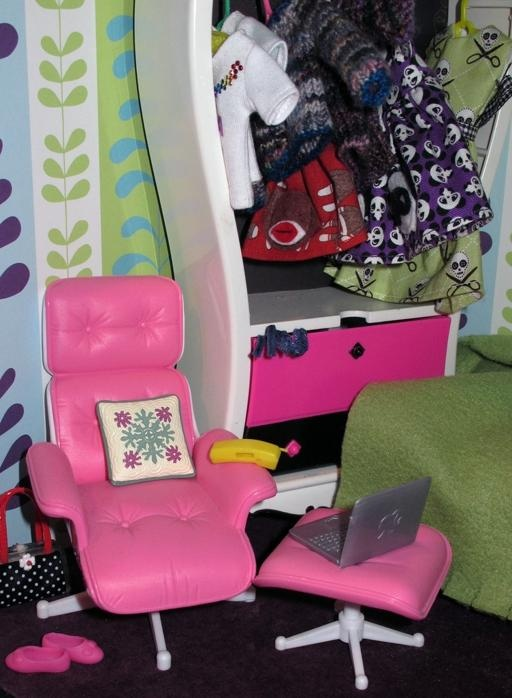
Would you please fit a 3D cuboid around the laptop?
[{"bbox_3d":[0.252,0.393,1.533,0.289,0.190,0.286,12,16,43],"label":"laptop"}]
